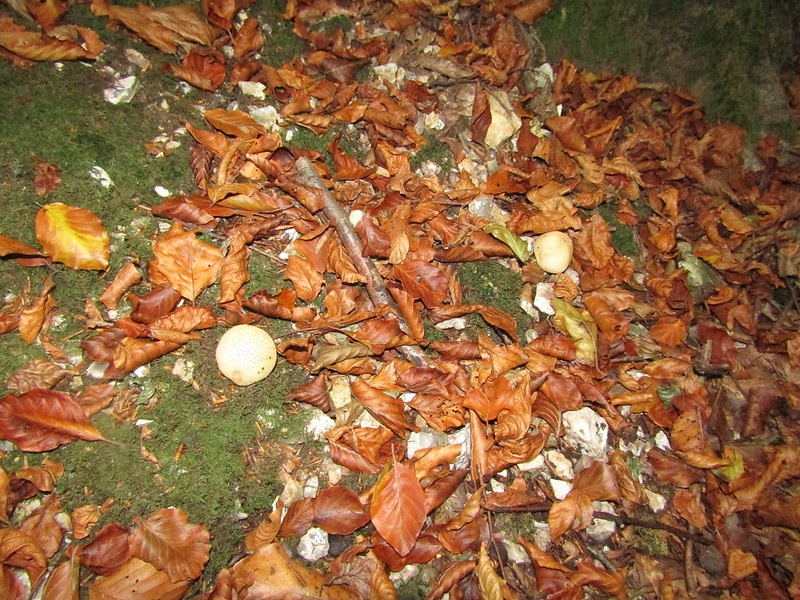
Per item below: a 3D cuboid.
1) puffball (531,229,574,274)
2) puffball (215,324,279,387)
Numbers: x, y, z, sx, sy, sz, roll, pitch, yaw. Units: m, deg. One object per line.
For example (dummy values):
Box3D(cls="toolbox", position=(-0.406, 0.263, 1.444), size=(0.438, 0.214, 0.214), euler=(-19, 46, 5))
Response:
Box3D(cls="puffball", position=(1.028, -0.314, 4.654), size=(0.277, 0.207, 0.268), euler=(-14, 81, -9))
Box3D(cls="puffball", position=(-0.895, 0.311, 4.079), size=(0.331, 0.174, 0.329), euler=(-44, 87, -12))
